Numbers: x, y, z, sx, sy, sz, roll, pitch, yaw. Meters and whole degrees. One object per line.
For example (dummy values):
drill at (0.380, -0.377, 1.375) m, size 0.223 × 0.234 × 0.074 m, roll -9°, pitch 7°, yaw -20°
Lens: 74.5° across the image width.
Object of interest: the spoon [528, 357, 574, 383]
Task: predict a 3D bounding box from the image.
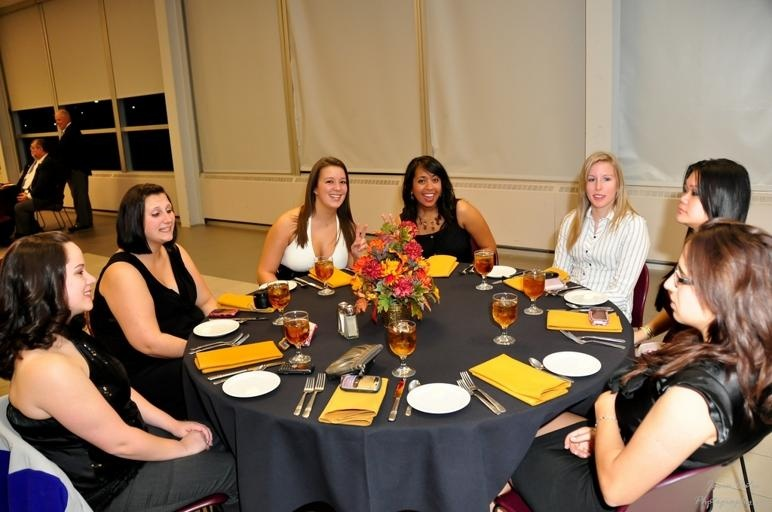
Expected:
spoon at (0.661, 0.462, 2.051) m, size 0.053 × 0.035 × 0.229 m, roll -20°, pitch 31°, yaw -21°

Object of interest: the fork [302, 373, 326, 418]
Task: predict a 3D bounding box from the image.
fork at (-0.283, 0.537, 1.988) m, size 0.029 × 0.027 × 0.215 m, roll 10°, pitch 32°, yaw 7°

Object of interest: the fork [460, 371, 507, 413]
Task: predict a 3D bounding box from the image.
fork at (0.368, 0.523, 1.949) m, size 0.062 × 0.037 × 0.238 m, roll -28°, pitch 32°, yaw -15°

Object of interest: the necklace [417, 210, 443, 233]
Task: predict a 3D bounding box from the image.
necklace at (0.321, -0.249, 3.688) m, size 0.180 × 0.197 × 0.044 m, roll 5°, pitch 11°, yaw 17°

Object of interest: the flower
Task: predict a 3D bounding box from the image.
flower at (0.026, 0.010, 2.439) m, size 0.417 × 0.503 × 0.404 m, roll -6°, pitch 14°, yaw -34°

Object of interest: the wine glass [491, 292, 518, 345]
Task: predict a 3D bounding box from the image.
wine glass at (0.526, 0.285, 2.257) m, size 0.129 × 0.226 × 0.129 m, roll -5°, pitch 20°, yaw -7°

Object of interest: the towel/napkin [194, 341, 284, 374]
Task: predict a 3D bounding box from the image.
towel/napkin at (-0.652, 0.435, 2.207) m, size 0.263 × 0.040 × 0.164 m, roll -5°, pitch 13°, yaw -20°

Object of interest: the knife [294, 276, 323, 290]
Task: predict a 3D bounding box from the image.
knife at (-0.451, 0.136, 2.966) m, size 0.065 × 0.040 × 0.459 m, roll -5°, pitch 8°, yaw -22°

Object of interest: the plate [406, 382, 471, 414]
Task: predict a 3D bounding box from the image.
plate at (0.194, 0.535, 1.915) m, size 0.124 × 0.016 × 0.130 m, roll 4°, pitch 17°, yaw 21°

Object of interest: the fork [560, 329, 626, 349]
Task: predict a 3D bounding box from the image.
fork at (0.922, 0.370, 2.244) m, size 0.162 × 0.032 × 0.027 m, roll 12°, pitch 40°, yaw 23°

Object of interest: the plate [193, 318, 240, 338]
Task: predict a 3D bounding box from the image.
plate at (-0.826, 0.352, 2.461) m, size 0.116 × 0.019 × 0.122 m, roll 1°, pitch 20°, yaw -4°

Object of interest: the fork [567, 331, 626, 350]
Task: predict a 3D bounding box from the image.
fork at (0.929, 0.375, 2.233) m, size 0.141 × 0.028 × 0.024 m, roll 14°, pitch 39°, yaw 25°

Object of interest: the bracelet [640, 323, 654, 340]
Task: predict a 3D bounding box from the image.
bracelet at (1.405, 0.404, 2.729) m, size 0.035 × 0.055 × 0.070 m, roll -10°, pitch 35°, yaw 25°

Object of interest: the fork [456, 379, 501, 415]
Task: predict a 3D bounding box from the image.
fork at (0.357, 0.534, 1.924) m, size 0.055 × 0.019 × 0.215 m, roll -28°, pitch 33°, yaw -16°

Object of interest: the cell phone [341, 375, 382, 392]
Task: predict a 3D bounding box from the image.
cell phone at (-0.101, 0.497, 1.984) m, size 0.104 × 0.024 × 0.068 m, roll 1°, pitch 20°, yaw 10°

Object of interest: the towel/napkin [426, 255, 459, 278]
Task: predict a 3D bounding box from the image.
towel/napkin at (0.325, 0.065, 3.069) m, size 0.147 × 0.044 × 0.151 m, roll 3°, pitch 38°, yaw 22°

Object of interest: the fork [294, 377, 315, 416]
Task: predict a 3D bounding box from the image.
fork at (-0.319, 0.542, 1.984) m, size 0.025 × 0.023 × 0.194 m, roll 9°, pitch 27°, yaw 8°

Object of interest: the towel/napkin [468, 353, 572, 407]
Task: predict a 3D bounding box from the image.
towel/napkin at (0.517, 0.483, 1.988) m, size 0.179 × 0.059 × 0.236 m, roll -21°, pitch 29°, yaw -34°

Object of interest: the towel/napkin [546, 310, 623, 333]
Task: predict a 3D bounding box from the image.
towel/napkin at (0.906, 0.308, 2.349) m, size 0.200 × 0.025 × 0.156 m, roll 3°, pitch 19°, yaw 14°

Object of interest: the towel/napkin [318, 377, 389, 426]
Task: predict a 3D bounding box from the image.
towel/napkin at (-0.118, 0.554, 1.946) m, size 0.208 × 0.078 × 0.265 m, roll 0°, pitch 13°, yaw 17°

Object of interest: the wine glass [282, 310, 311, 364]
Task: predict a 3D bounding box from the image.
wine glass at (-0.388, 0.356, 2.184) m, size 0.122 × 0.219 × 0.119 m, roll -11°, pitch 21°, yaw -10°

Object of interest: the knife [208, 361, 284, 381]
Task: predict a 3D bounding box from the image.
knife at (-0.601, 0.483, 2.125) m, size 0.233 × 0.013 × 0.033 m, roll -8°, pitch 25°, yaw -25°

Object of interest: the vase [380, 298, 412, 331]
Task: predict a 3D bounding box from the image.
vase at (0.045, 0.272, 2.369) m, size 0.119 × 0.129 × 0.119 m, roll -5°, pitch 2°, yaw -29°

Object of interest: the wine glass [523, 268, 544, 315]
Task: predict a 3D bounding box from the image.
wine glass at (0.726, 0.184, 2.500) m, size 0.125 × 0.227 × 0.122 m, roll -8°, pitch 20°, yaw -8°
